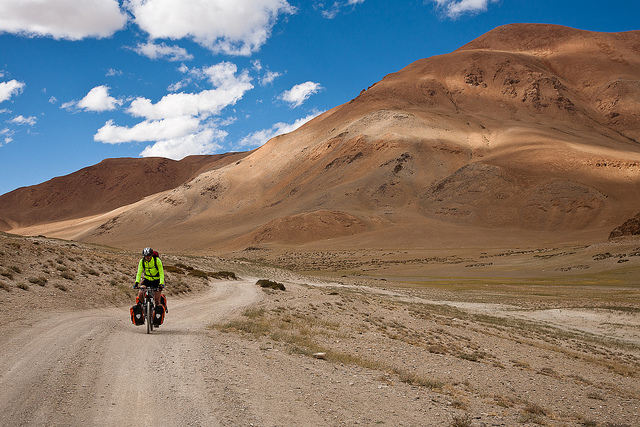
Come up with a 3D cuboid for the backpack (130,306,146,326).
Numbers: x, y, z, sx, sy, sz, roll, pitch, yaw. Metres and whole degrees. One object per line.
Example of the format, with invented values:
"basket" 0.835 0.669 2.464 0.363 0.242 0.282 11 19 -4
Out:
"backpack" -9.713 4.586 21.238 0.640 0.622 0.370 -5 3 -21
